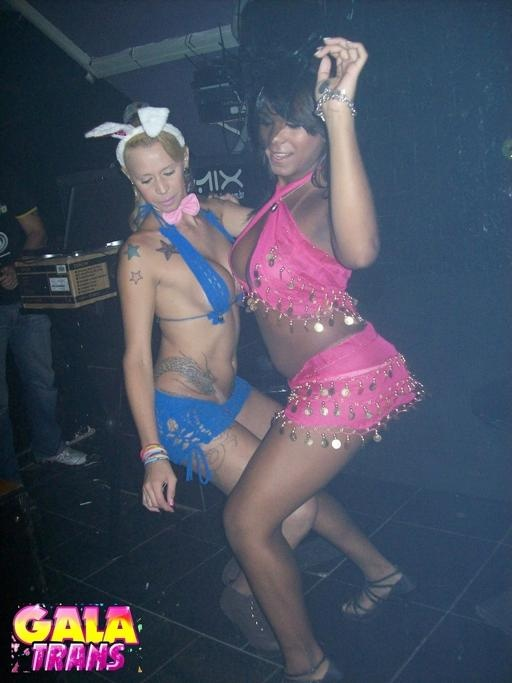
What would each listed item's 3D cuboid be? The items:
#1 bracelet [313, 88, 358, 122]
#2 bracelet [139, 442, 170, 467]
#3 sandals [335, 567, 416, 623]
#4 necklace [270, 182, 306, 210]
[{"bbox_3d":[0.233,-0.639,1.691,0.076,0.025,0.102,-8,-26,39],"label":"bracelet"},{"bbox_3d":[-0.304,0.345,1.892,0.067,0.053,0.071,-3,-22,-25],"label":"bracelet"},{"bbox_3d":[0.477,0.994,2.441,0.356,0.134,0.096,-29,-22,24],"label":"sandals"},{"bbox_3d":[0.098,-0.484,2.018,0.113,0.029,0.081,-23,-13,-4],"label":"necklace"}]
